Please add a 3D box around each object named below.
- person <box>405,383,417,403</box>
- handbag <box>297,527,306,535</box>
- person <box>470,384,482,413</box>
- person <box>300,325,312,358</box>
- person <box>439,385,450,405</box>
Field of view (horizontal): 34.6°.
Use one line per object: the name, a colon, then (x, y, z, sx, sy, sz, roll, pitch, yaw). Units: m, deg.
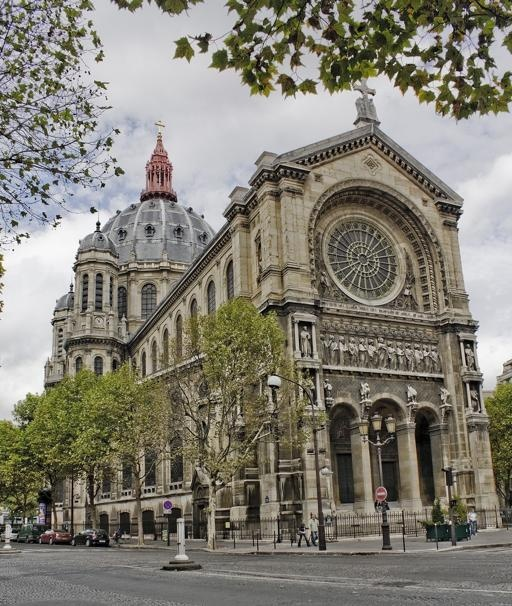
person: (9.124, 5.323, 48.197, 0.588, 1.117, 0.568, -1, -19, -7)
handbag: (2.018, 10.137, 36.353, 0.262, 0.372, 0.142, 1, 11, -44)
person: (13.316, 5.759, 49.829, 0.458, 1.855, 0.966, -13, -21, 26)
person: (2.703, 2.029, 44.523, 0.432, 2.022, 0.822, -20, -25, 40)
person: (11.350, 5.644, 49.540, 0.560, 1.164, 0.739, -13, -21, 26)
